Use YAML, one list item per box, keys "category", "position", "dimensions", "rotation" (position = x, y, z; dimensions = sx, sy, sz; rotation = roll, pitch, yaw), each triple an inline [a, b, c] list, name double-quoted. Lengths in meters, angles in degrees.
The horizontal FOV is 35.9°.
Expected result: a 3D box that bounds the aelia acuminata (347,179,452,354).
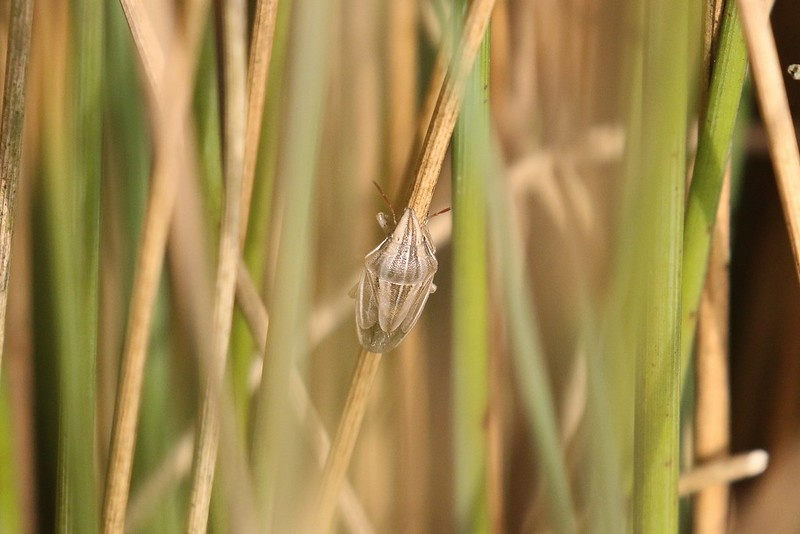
- category: "aelia acuminata"
  position: [0.006, -0.003, 2.762]
  dimensions: [0.224, 0.364, 0.099]
  rotation: [-4, 8, -3]
